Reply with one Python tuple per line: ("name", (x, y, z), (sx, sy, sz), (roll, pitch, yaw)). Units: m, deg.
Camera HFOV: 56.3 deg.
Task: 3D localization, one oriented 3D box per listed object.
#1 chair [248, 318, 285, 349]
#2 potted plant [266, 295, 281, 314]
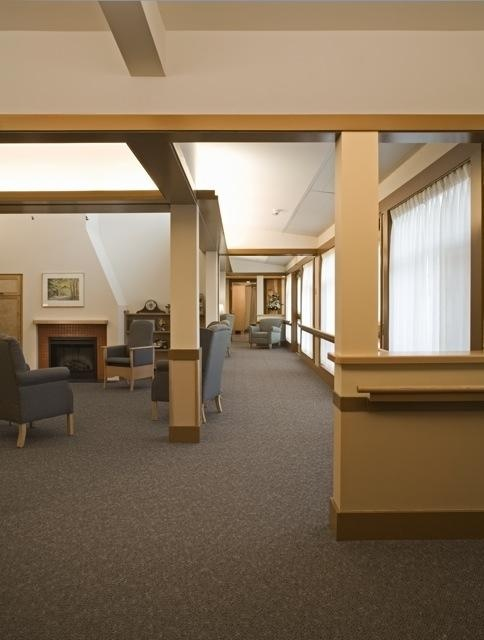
("chair", (0.739, 0.352, 13.668), (0.776, 1.142, 0.899), (-1, -4, 25))
("potted plant", (1.159, -0.591, 16.534), (0.559, 0.949, 0.614), (1, -3, -5))
